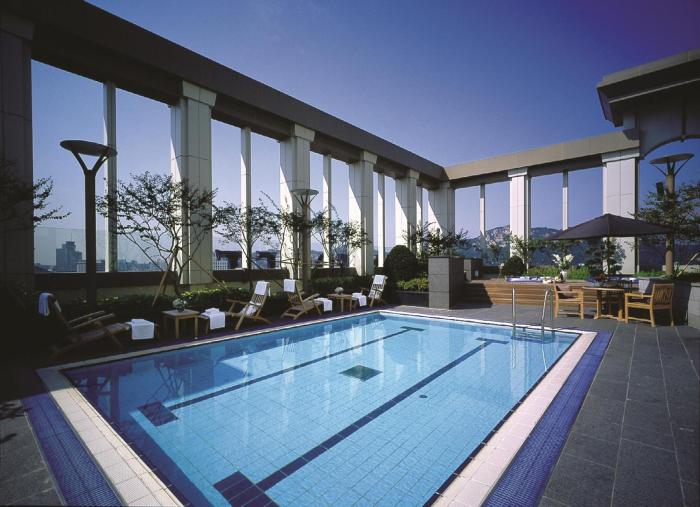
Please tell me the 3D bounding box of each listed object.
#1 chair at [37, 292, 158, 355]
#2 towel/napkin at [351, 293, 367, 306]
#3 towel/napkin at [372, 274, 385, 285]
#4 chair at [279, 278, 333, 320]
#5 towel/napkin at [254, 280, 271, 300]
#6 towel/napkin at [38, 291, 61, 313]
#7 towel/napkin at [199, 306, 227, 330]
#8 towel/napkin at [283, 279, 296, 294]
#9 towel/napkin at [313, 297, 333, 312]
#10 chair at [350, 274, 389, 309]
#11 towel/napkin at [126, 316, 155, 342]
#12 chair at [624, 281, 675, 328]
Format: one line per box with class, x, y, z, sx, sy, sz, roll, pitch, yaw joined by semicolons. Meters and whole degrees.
chair;-6.091;1.678;11.008;2.478;1.643;1.360;4;-3;-29
towel/napkin;0.392;1.658;16.115;0.461;0.430;0.492;-1;0;-8
towel/napkin;1.215;1.008;16.878;0.342;0.356;0.349;-2;-14;24
chair;-1.374;1.437;14.714;1.518;1.178;1.019;1;-1;-43
towel/napkin;-2.469;1.091;13.252;0.441;0.496;0.480;-4;-36;28
towel/napkin;-6.849;1.165;10.108;0.259;0.533;0.436;-2;0;-40
towel/napkin;-3.708;1.828;12.262;0.685;0.608;0.519;-1;-1;-37
towel/napkin;-1.892;1.067;14.374;0.417;0.418;0.155;-4;-7;28
towel/napkin;-0.844;1.708;14.772;0.450;0.339;0.461;0;-1;-42
chair;0.829;1.411;16.583;1.161;1.065;0.750;-7;4;-42
towel/napkin;-5.106;1.825;10.964;0.510;0.400;0.571;-1;2;-39
chair;8.529;1.384;12.705;1.197;1.149;1.855;-2;-1;37
